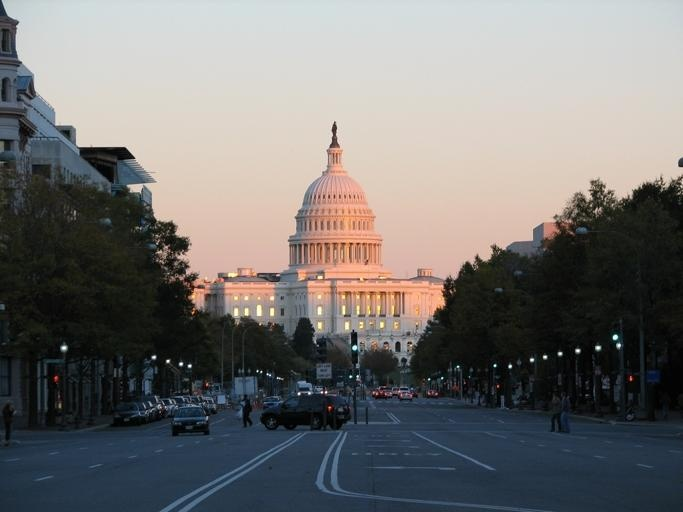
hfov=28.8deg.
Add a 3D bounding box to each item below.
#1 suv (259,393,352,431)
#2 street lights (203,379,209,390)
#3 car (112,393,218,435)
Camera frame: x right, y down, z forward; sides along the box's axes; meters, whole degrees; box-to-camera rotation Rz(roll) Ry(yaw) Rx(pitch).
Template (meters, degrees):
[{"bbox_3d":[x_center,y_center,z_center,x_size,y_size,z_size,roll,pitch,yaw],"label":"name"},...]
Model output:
[{"bbox_3d":[-1.722,8.212,70.120,4.291,2.045,2.432,-1,-13,-2],"label":"suv"},{"bbox_3d":[-16.939,16.264,168.001,0.443,1.607,0.740,-1,2,-8],"label":"street lights"},{"bbox_3d":[-7.202,8.000,68.138,3.216,2.642,6.577,1,-6,-11],"label":"car"}]
